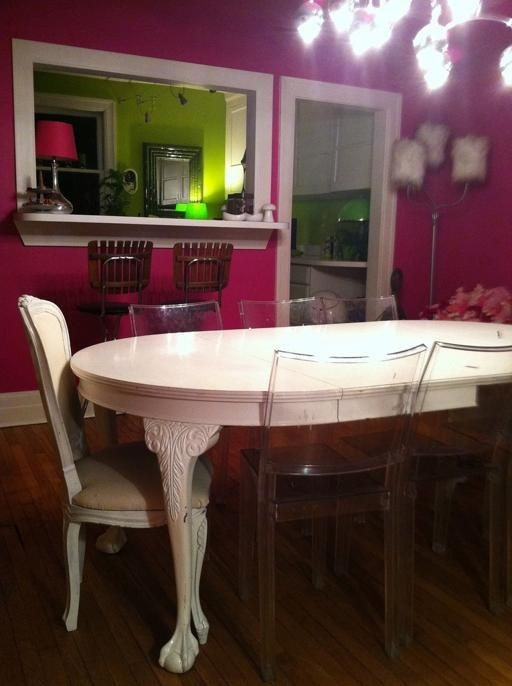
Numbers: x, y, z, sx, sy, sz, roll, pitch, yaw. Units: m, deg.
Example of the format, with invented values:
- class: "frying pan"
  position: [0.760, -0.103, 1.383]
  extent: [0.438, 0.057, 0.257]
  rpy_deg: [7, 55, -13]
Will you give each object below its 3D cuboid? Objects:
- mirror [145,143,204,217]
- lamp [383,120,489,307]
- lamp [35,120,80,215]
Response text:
- class: "mirror"
  position: [-0.972, -1.858, 6.311]
  extent: [0.635, 0.926, 0.032]
  rpy_deg: [-3, 49, -10]
- class: "lamp"
  position: [1.539, -0.893, 4.536]
  extent: [0.729, 1.879, 0.343]
  rpy_deg: [7, 45, 19]
- class: "lamp"
  position: [-1.231, -1.043, 3.231]
  extent: [0.323, 0.511, 0.322]
  rpy_deg: [-6, 8, -33]
